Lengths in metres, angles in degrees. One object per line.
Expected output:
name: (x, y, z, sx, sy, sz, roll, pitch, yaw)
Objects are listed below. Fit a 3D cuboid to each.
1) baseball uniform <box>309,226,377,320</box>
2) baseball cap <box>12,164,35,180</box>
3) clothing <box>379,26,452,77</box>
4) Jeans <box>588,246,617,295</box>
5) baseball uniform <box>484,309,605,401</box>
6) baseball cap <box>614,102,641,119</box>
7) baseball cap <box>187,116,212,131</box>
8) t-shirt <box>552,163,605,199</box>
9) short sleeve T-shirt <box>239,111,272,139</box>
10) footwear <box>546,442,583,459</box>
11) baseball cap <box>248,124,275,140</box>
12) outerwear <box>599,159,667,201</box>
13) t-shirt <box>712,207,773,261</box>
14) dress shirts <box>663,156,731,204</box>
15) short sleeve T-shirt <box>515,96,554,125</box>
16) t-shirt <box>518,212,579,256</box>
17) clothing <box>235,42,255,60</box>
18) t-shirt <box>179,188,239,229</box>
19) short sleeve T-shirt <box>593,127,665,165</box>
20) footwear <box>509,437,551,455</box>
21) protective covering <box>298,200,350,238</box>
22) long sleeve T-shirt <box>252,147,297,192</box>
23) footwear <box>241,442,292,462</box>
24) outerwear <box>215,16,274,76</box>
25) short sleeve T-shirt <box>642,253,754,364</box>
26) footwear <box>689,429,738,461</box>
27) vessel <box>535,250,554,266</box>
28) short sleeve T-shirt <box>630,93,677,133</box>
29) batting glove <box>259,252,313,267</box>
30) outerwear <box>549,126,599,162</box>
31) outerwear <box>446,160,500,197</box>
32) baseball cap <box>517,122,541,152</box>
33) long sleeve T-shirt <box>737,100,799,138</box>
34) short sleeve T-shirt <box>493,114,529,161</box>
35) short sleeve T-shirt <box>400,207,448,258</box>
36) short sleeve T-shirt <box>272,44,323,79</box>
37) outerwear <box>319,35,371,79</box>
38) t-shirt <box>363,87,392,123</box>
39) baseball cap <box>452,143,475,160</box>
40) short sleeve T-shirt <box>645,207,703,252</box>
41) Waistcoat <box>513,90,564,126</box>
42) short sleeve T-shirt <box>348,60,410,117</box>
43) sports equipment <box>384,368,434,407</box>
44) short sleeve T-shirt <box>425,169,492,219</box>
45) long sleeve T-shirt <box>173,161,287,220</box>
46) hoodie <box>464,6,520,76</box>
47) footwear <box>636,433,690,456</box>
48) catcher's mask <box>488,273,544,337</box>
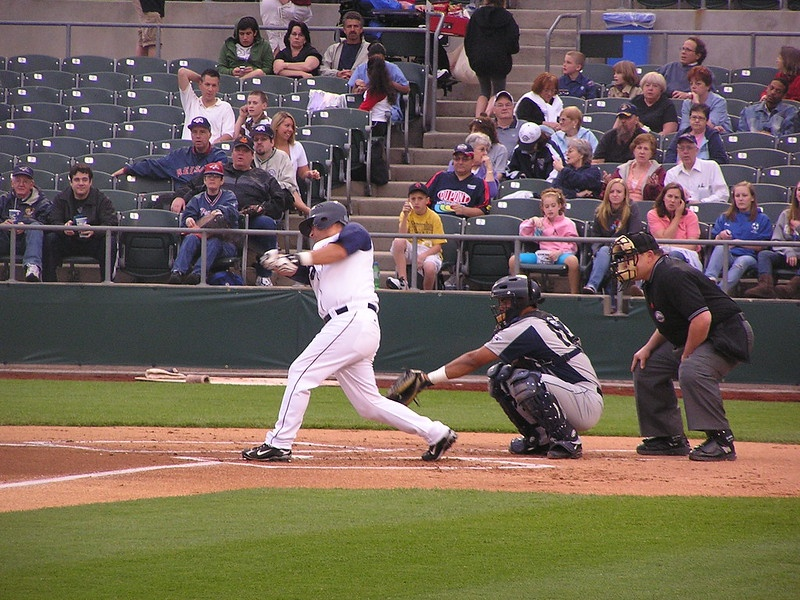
baseball uniform: (-0.638, -0.341, 19.028, 0.663, 0.863, 0.958, 5, -34, -28)
baseball cap: (-5.667, -1.961, 24.901, 0.460, 0.179, 0.606, 3, -1, -18)
clothing: (0.188, -4.483, 29.496, 1.259, 0.754, 0.534, 2, 4, 2)
Jeans: (2.925, -0.542, 23.623, 0.293, 0.821, 0.265, 10, -11, 3)
baseball uniform: (1.556, 0.568, 19.894, 1.366, 0.580, 1.737, -23, 15, -18)
baseball cap: (3.526, -2.957, 25.269, 0.221, 0.153, 0.326, 1, 2, 28)
baseball cap: (-3.006, -2.714, 25.084, 0.271, 0.168, 0.356, -4, -23, 6)
t-shirt: (2.724, -1.823, 24.830, 0.766, 0.491, 0.412, 1, 13, 4)
short sleeve T-shirt: (-2.256, -2.817, 26.061, 0.673, 0.408, 0.464, -9, 2, -24)
footwear: (1.975, 1.759, 19.540, 0.351, 0.188, 0.146, -2, -5, 3)
baseball cap: (-2.060, -2.598, 25.061, 0.336, 0.205, 0.392, -1, 12, -6)
outerwear: (3.512, -1.761, 24.526, 0.938, 0.429, 1.161, 12, 27, -1)
t-shirt: (4.938, -0.953, 23.587, 0.678, 0.582, 0.361, 16, -29, 23)
dress shirts: (4.451, -1.774, 24.755, 1.056, 0.712, 0.599, 0, 9, 35)
short sleeve T-shirt: (2.194, -3.060, 26.417, 0.548, 0.459, 0.361, 1, 20, 12)
t-shirt: (2.168, -1.000, 23.866, 0.884, 0.474, 0.584, 3, 12, 9)
clothing: (-2.670, -4.329, 28.814, 0.472, 0.384, 0.239, 0, 4, -3)
t-shirt: (-2.694, -1.400, 24.099, 0.647, 0.289, 0.696, 8, 26, 0)
short sleeve T-shirt: (3.495, -2.391, 25.576, 1.098, 0.696, 0.556, 1, 1, 25)
footwear: (1.557, 1.741, 19.753, 0.389, 0.148, 0.217, 8, 2, 4)
protective covering: (-0.879, -0.966, 19.192, 0.533, 0.257, 0.326, -17, -12, 3)
long sleeve T-shirt: (-1.986, -1.986, 25.118, 0.837, 0.700, 0.401, 0, 25, 11)
footwear: (-1.517, 1.720, 19.023, 0.591, 0.228, 0.210, 5, 2, -8)
outerwear: (-2.646, -4.435, 28.828, 1.125, 1.015, 0.687, 3, 14, 10)
short sleeve T-shirt: (3.588, 0.079, 19.866, 1.083, 1.466, 1.468, -22, 0, -6)
footwear: (3.744, 1.713, 19.457, 0.621, 0.356, 0.276, 2, 1, 2)
vessel: (2.103, -0.645, 23.622, 0.228, 0.137, 0.211, 1, -4, -22)
short sleeve T-shirt: (4.047, -2.966, 26.076, 0.834, 0.700, 0.442, 6, 15, 24)
batting glove: (-1.275, -0.502, 18.903, 0.692, 0.179, 0.263, 6, 13, 23)
outerwear: (2.738, -2.555, 25.674, 0.970, 0.395, 0.495, 0, 2, 8)
outerwear: (1.344, -1.910, 25.030, 0.700, 0.576, 0.270, 4, -39, -1)
baseball cap: (2.036, -2.585, 25.389, 0.349, 0.336, 0.358, 1, 12, 3)
long sleeve T-shirt: (5.980, -2.972, 26.665, 0.936, 0.449, 0.545, 5, -1, 21)
short sleeve T-shirt: (1.786, -2.662, 26.275, 0.656, 0.716, 0.395, 3, 49, 35)
short sleeve T-shirt: (0.356, -0.997, 24.072, 0.850, 0.721, 0.419, -4, 4, 7)
short sleeve T-shirt: (-1.756, -4.136, 28.771, 1.017, 0.806, 0.604, -1, -3, 3)
outerwear: (-0.951, -4.264, 28.784, 0.676, 0.761, 0.296, 11, -8, 20)
t-shirt: (-0.318, -3.218, 26.962, 0.575, 0.480, 0.320, 10, -12, 14)
baseball cap: (0.991, -2.239, 24.601, 0.297, 0.204, 0.222, -3, 13, -16)
short sleeve T-shirt: (3.868, -0.923, 23.823, 1.093, 0.892, 0.556, 0, 0, 8)
Waistcoat: (2.302, -3.102, 26.499, 0.785, 0.651, 0.594, -9, 9, -36)
short sleeve T-shirt: (-0.306, -3.660, 27.432, 1.053, 0.982, 0.575, 11, 41, 6)
sports equipment: (0.127, 1.004, 19.454, 0.537, 0.357, 0.199, -26, -28, -19)
short sleeve T-shirt: (0.900, -1.631, 24.955, 1.138, 0.730, 0.552, 15, 22, 17)
long sleeve T-shirt: (-2.431, -1.537, 24.824, 1.726, 0.626, 1.029, -14, -3, 29)
hoodie: (1.542, -4.358, 27.579, 1.296, 1.240, 1.082, 3, 8, 13)
footwear: (3.167, 1.712, 20.015, 0.743, 0.386, 0.238, 3, 3, 5)
catcher's mask: (1.442, -0.011, 19.563, 0.663, 0.493, 0.470, -5, -8, 3)
